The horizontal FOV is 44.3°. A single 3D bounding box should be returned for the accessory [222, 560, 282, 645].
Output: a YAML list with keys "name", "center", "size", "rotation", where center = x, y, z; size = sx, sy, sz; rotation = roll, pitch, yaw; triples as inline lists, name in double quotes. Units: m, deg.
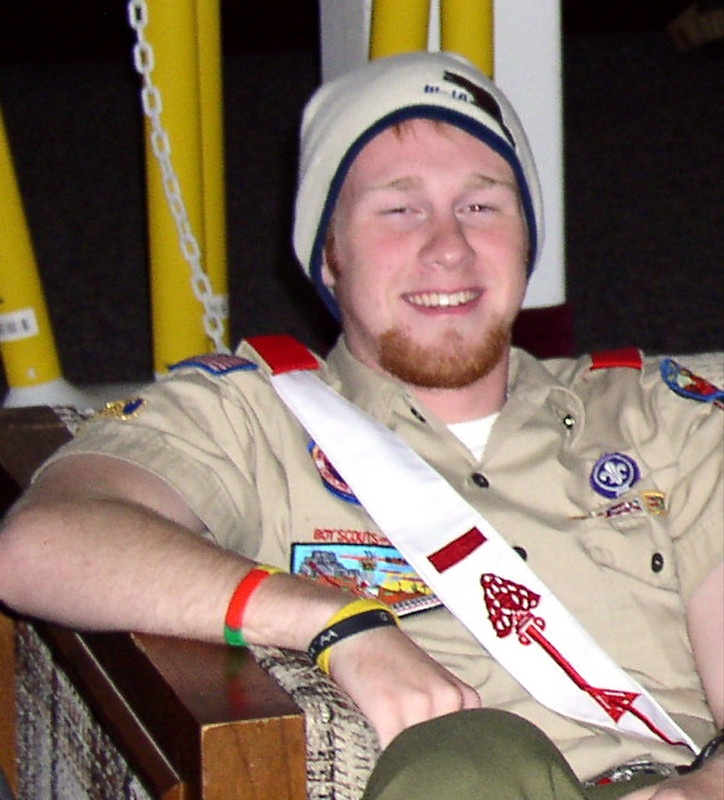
- name: "accessory"
  center: [-0.126, 0.230, 1.010]
  size: [0.022, 0.065, 0.059]
  rotation: [5, -1, 21]

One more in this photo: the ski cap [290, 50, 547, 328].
- name: "ski cap"
  center: [0.096, -0.366, 1.636]
  size: [0.391, 0.433, 0.332]
  rotation: [4, 45, -6]

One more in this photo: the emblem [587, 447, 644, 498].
- name: "emblem"
  center: [0.414, 0.121, 1.444]
  size: [0.081, 0.022, 0.069]
  rotation: [-30, 70, -9]
